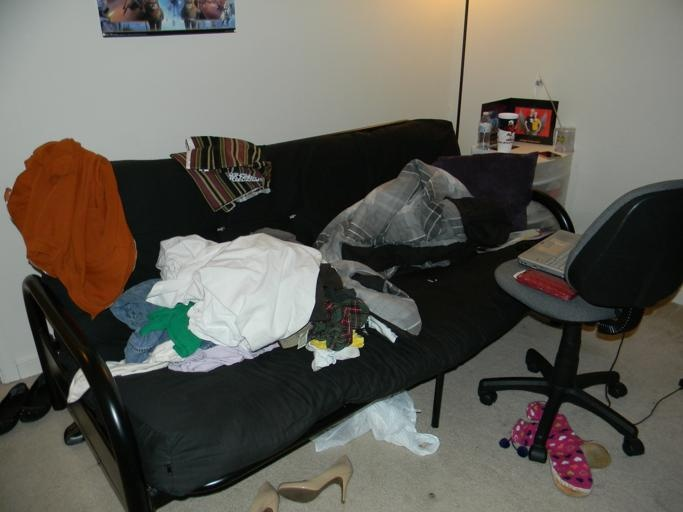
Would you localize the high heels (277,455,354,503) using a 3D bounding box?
[{"bbox_3d":[-0.082,0.909,2.082,0.356,0.125,0.221,2,68,-8],"label":"high heels"}]

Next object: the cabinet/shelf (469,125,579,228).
[{"bbox_3d":[1.162,-0.495,3.147,0.564,0.629,0.562,-13,22,-30],"label":"cabinet/shelf"}]

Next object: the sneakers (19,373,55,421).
[{"bbox_3d":[-1.435,0.689,2.449,0.133,0.064,0.275,2,20,-12],"label":"sneakers"}]

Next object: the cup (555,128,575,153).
[{"bbox_3d":[1.374,-0.708,3.200,0.138,0.187,0.133,3,10,0],"label":"cup"}]

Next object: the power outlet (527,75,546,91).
[{"bbox_3d":[1.245,-1.096,3.266,0.014,0.085,0.078,-20,29,-34],"label":"power outlet"}]

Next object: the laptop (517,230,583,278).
[{"bbox_3d":[0.929,-0.052,2.265,0.189,0.048,0.276,25,44,38],"label":"laptop"}]

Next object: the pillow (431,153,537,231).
[{"bbox_3d":[0.755,-0.328,2.722,0.395,0.405,0.118,2,-6,18],"label":"pillow"}]
